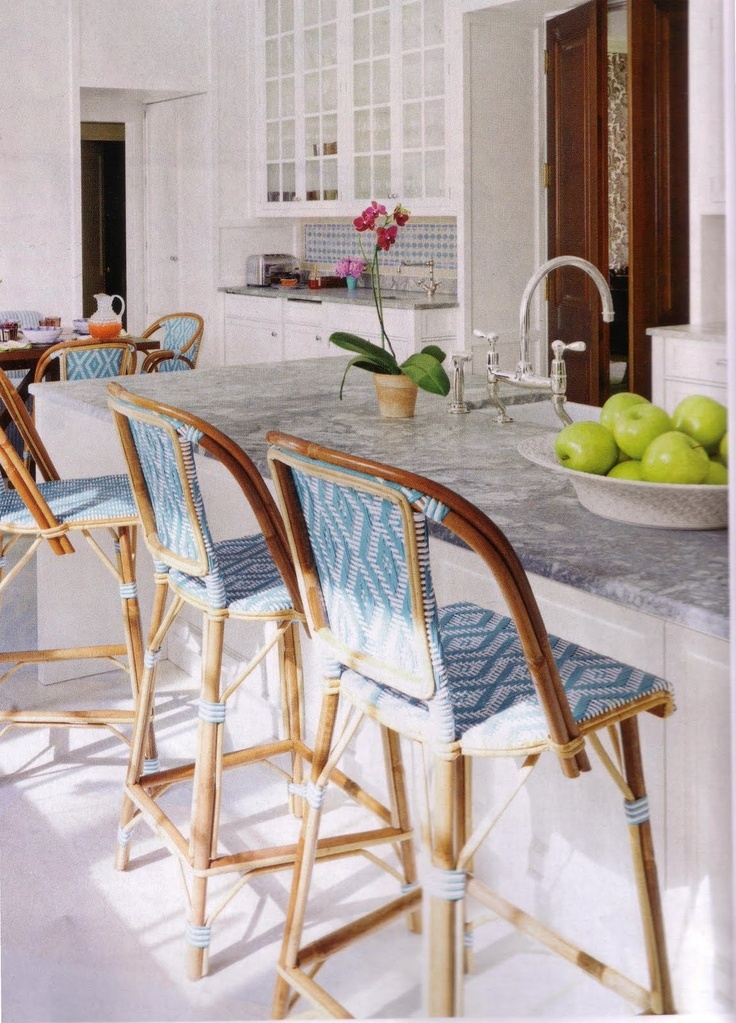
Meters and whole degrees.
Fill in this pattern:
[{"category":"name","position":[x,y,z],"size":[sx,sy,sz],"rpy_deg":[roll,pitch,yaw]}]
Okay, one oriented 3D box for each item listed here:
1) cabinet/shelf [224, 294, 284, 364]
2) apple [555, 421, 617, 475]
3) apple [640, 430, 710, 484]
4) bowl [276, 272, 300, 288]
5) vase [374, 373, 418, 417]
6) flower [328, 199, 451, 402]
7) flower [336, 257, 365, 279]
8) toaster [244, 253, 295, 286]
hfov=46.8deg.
[{"category":"cabinet/shelf","position":[-0.882,-1.396,6.375],"size":[0.144,0.537,0.839],"rpy_deg":[-9,11,-30]},{"category":"apple","position":[0.273,-0.062,1.046],"size":[0.077,0.064,0.064],"rpy_deg":[6,58,23]},{"category":"apple","position":[0.330,-0.058,0.921],"size":[0.040,0.046,0.039],"rpy_deg":[40,1,-16]},{"category":"bowl","position":[-0.601,-1.767,6.525],"size":[0.171,0.097,0.169],"rpy_deg":[-1,8,0]},{"category":"vase","position":[0.062,-0.254,1.876],"size":[0.087,0.074,0.092],"rpy_deg":[0,3,-1]},{"category":"flower","position":[0.031,-0.442,1.858],"size":[0.260,0.437,0.249],"rpy_deg":[-6,17,-3]},{"category":"flower","position":[-0.120,-1.707,5.974],"size":[0.185,0.151,0.206],"rpy_deg":[-3,11,-16]},{"category":"toaster","position":[-0.764,-1.968,6.651],"size":[0.400,0.273,0.274],"rpy_deg":[-15,26,-35]}]
